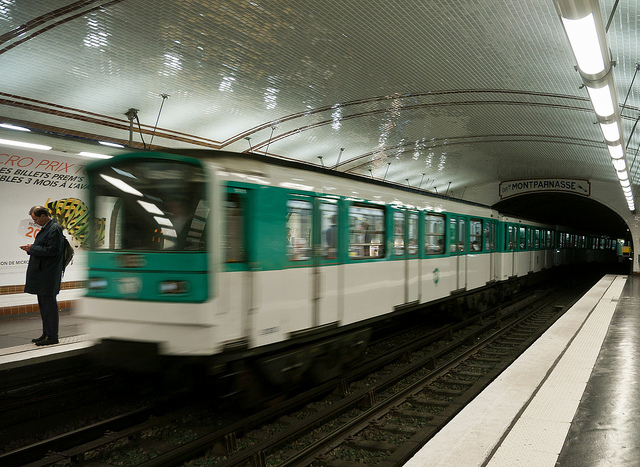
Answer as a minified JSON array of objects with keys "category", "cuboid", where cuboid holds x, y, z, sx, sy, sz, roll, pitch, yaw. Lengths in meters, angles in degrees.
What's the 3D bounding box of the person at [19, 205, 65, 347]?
[{"category":"person","cuboid":[-5.167,0.830,7.201,0.605,2.637,0.709,0,-2,-31]}]
